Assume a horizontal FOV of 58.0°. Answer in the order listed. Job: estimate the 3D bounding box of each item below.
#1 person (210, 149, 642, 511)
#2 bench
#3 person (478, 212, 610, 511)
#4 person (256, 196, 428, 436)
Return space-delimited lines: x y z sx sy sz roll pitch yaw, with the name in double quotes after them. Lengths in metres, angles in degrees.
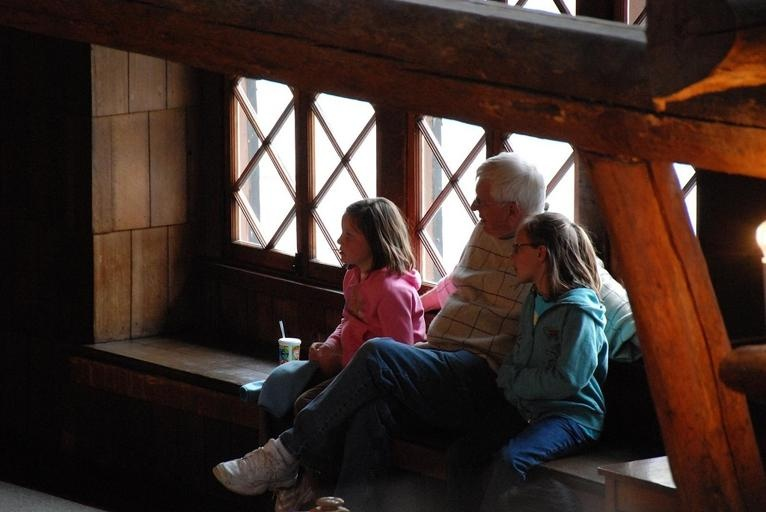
0.124 0.260 2.646 1.357 1.485 1.058 6 -4 -11 "person"
-0.167 0.576 4.049 3.257 0.608 0.237 15 8 35 "bench"
0.496 0.310 2.089 0.361 0.880 0.283 -1 -17 14 "person"
-0.125 0.161 3.062 0.839 1.193 0.635 1 2 -10 "person"
